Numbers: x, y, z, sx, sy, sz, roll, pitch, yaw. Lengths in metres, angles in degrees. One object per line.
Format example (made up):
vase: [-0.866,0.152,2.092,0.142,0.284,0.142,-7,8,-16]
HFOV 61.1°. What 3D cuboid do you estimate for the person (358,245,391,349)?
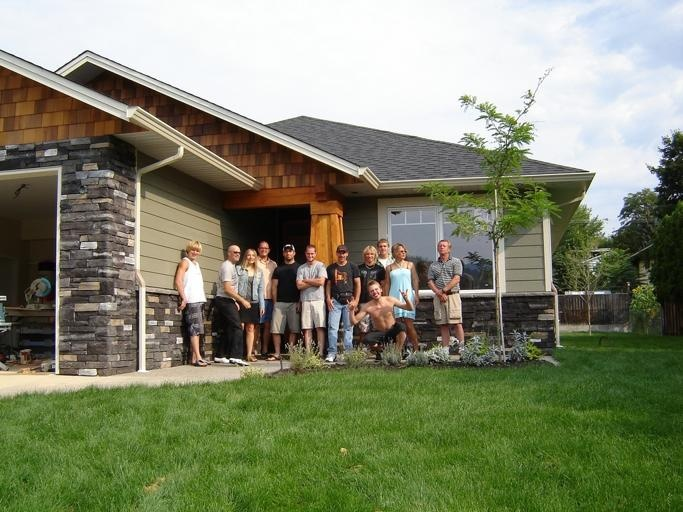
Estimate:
person: [0.487,0.752,10.360,0.612,1.915,0.559,-1,-5,23]

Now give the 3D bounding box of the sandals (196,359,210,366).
sandals: [-2.346,1.812,9.897,0.159,0.055,0.118,-2,-4,33]

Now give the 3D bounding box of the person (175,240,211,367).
person: [-2.591,0.829,10.201,0.532,2.168,0.976,0,-9,-16]

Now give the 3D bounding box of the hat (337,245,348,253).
hat: [0.022,-0.138,10.246,0.191,0.148,0.177,2,-10,-25]

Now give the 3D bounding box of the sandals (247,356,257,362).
sandals: [-1.616,1.851,10.490,0.079,0.115,0.260,9,-18,-40]

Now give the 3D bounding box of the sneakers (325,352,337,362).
sneakers: [-0.167,1.716,9.901,0.122,0.140,0.343,-2,-13,11]

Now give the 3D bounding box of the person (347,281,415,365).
person: [0.677,1.064,9.424,1.110,1.426,0.758,-9,-7,3]

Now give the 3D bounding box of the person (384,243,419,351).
person: [1.018,0.723,9.888,0.527,1.908,0.616,-3,10,14]

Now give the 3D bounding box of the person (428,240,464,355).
person: [1.794,0.624,9.985,0.548,1.853,0.466,-4,-9,11]

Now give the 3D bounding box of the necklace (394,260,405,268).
necklace: [0.997,0.107,9.911,0.090,0.157,0.072,10,0,3]

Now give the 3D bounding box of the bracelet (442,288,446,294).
bracelet: [1.735,0.579,9.920,0.081,0.088,0.024,-5,2,10]

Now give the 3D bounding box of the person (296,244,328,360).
person: [-0.490,0.765,10.345,0.545,1.985,0.786,0,-9,-15]
